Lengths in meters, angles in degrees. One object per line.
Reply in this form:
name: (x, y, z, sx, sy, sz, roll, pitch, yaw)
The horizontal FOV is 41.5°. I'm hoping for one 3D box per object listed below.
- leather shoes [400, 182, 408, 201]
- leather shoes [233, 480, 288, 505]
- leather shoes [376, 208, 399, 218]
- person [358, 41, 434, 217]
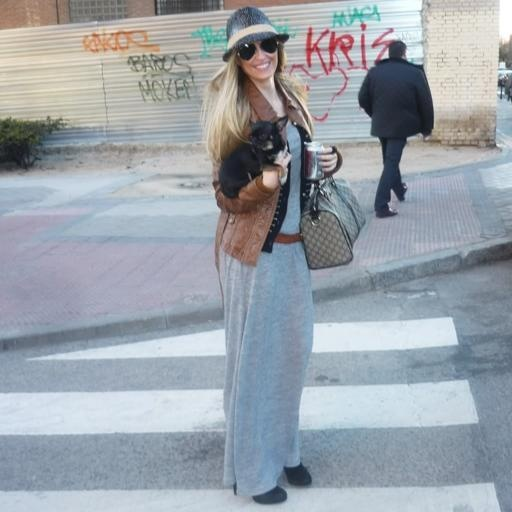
leather shoes: (1.953, -0.841, 8.807, 0.074, 0.275, 0.107, -1, 20, 1)
leather shoes: (0.030, 1.193, 3.398, 0.204, 0.099, 0.115, -4, 18, 14)
leather shoes: (1.610, -0.548, 8.157, 0.268, 0.140, 0.106, -9, 24, -26)
person: (1.714, -1.561, 8.211, 0.779, 2.021, 0.872, -6, 14, -13)
